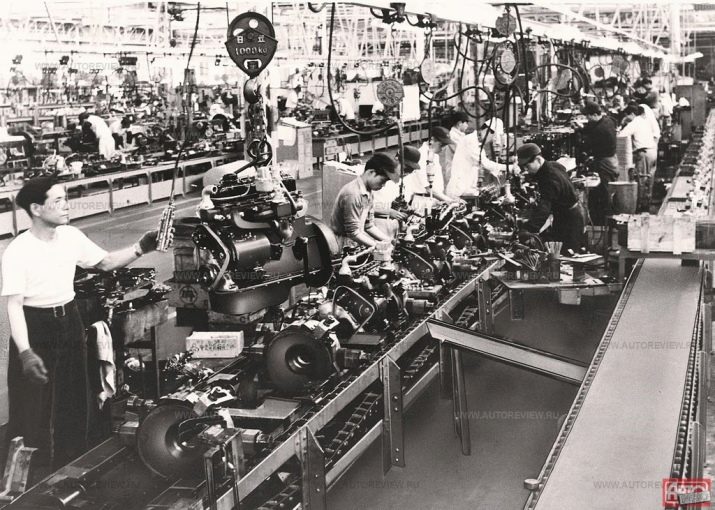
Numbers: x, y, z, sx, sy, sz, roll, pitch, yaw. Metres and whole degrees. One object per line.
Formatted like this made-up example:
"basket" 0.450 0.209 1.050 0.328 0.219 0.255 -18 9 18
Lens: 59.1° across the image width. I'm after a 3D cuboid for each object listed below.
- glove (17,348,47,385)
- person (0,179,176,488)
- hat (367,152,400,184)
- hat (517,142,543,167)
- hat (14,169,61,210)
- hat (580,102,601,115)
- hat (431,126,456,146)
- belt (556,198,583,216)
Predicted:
"glove" -1.730 0.598 3.433 0.151 0.206 0.076 4 31 43
"person" -1.735 0.420 3.616 0.641 1.656 0.536 -7 15 -26
"hat" 0.232 -0.634 4.733 0.255 0.141 0.189 18 17 -10
"hat" 1.806 -1.034 6.656 0.221 0.259 0.319 4 15 15
"hat" -1.847 -0.344 3.629 0.202 0.185 0.280 -11 18 -38
"hat" 3.286 -2.006 8.840 0.268 0.148 0.180 -19 28 -4
"hat" 1.130 -1.452 8.033 0.319 0.165 0.227 20 21 -16
"belt" 2.293 -0.498 6.781 0.187 0.133 0.189 -11 -1 10
